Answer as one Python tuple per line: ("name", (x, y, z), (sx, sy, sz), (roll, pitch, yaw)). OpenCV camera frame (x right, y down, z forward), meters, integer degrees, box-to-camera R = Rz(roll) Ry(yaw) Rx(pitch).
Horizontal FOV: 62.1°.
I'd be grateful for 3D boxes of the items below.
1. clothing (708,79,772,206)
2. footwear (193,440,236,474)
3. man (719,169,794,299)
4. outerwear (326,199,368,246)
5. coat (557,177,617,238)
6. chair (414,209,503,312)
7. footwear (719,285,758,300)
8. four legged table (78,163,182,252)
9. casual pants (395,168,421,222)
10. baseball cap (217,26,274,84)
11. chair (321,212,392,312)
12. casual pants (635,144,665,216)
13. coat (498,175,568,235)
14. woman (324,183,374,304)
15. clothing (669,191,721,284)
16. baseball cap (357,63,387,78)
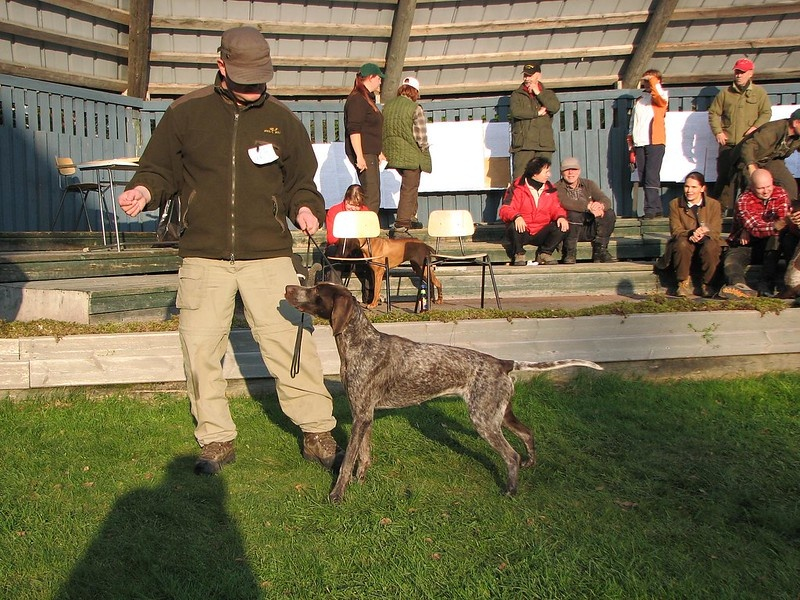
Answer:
("clothing", (5.490, -2.463, 10.918), (0.855, 2.264, 0.684), (5, 9, 26))
("footwear", (-1.452, 1.225, 5.165), (0.124, 0.165, 0.353), (2, -3, 9))
("man", (4.519, -0.879, 8.492), (1.163, 1.555, 0.716), (-7, 8, -34))
("outerwear", (-0.742, -1.056, 8.704), (0.515, 0.720, 0.621), (0, -8, -3))
("coat", (2.738, -1.369, 10.042), (0.919, 1.019, 0.917), (-1, 8, 28))
("chair", (0.660, -0.469, 8.122), (0.768, 1.401, 0.953), (-3, 1, -7))
("footwear", (4.169, -0.100, 8.233), (0.411, 0.128, 0.532), (3, 10, 36))
("four legged table", (-3.507, -1.144, 8.403), (0.834, 1.067, 1.598), (-1, 10, 3))
("casual pants", (0.111, -1.623, 9.916), (0.316, 1.055, 0.477), (0, 7, -6))
("baseball cap", (-1.161, -1.822, 4.914), (0.303, 0.506, 0.178), (-11, -20, -17))
("chair", (-0.541, -0.403, 8.142), (0.636, 1.095, 0.769), (9, 42, 10))
("casual pants", (4.243, -2.087, 11.415), (0.386, 1.307, 0.412), (-3, 4, -23))
("coat", (1.923, -1.322, 9.602), (0.967, 1.002, 1.099), (7, 18, 11))
("woman", (-0.634, -0.525, 9.008), (0.722, 1.509, 0.714), (4, -7, -23))
("clothing", (3.921, -0.790, 8.821), (0.658, 1.153, 0.573), (0, 7, 19))
("baseball cap", (-0.394, -3.318, 9.728), (0.434, 0.249, 0.317), (-19, 29, -37))
